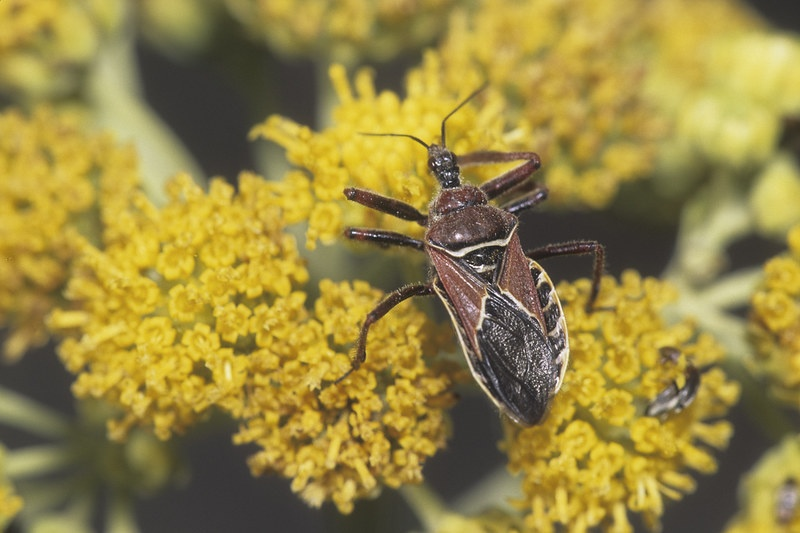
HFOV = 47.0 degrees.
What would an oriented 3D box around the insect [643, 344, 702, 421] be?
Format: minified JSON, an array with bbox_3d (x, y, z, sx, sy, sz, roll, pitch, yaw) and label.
[{"bbox_3d":[1.142,0.474,3.791,0.079,0.248,0.267,8,56,46],"label":"insect"}]
